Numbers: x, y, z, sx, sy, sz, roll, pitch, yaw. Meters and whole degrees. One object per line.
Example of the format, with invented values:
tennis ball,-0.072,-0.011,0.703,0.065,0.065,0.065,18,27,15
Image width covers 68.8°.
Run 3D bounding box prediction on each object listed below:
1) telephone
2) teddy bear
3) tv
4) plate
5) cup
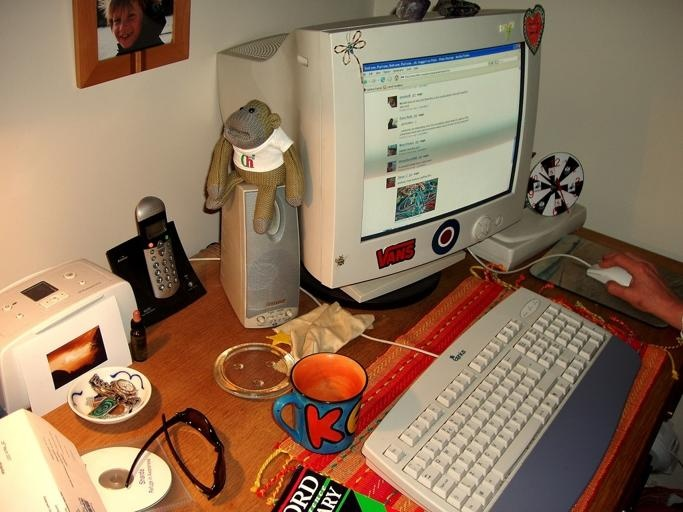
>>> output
telephone,-0.359,0.014,0.955,0.106,0.202,0.134,38,56,23
teddy bear,-0.148,-0.161,0.896,0.159,0.184,0.142,29,59,6
tv,0.065,-0.302,1.132,0.563,0.558,0.581,-22,44,-29
plate,-0.375,0.211,0.780,0.087,0.026,0.096,18,40,0
cup,-0.026,0.217,0.809,0.110,0.128,0.168,32,43,31
